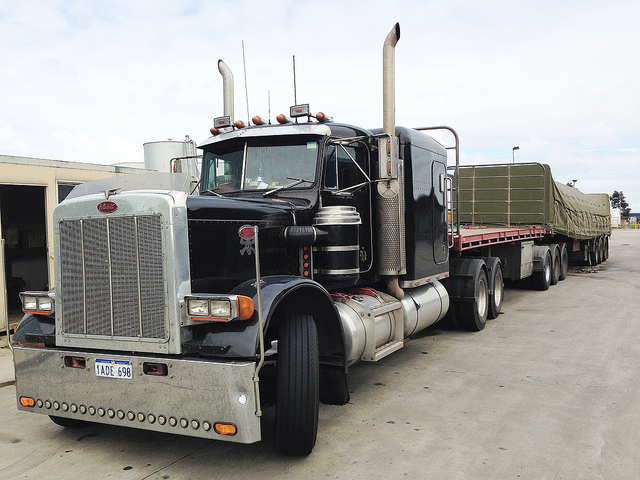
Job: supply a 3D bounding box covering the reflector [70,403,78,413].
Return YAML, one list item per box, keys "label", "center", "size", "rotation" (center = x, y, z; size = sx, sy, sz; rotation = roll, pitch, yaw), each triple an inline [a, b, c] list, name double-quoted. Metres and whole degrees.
- label: "reflector"
  center: [-2.339, 1.584, 5.587]
  size: [0.076, 0.082, 0.079]
  rotation: [9, 8, 40]

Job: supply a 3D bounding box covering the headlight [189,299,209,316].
- label: "headlight"
  center: [-1.098, 0.594, 5.281]
  size: [0.144, 0.153, 0.104]
  rotation: [-1, 0, 18]

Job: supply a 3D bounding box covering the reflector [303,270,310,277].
- label: "reflector"
  center: [-0.143, 0.373, 6.672]
  size: [0.061, 0.064, 0.014]
  rotation: [-19, 10, -26]

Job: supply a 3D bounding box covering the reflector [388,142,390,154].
- label: "reflector"
  center: [0.795, -1.085, 6.791]
  size: [0.015, 0.114, 0.020]
  rotation: [-1, 6, 5]

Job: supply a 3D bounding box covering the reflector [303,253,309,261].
- label: "reflector"
  center: [-0.159, 0.178, 6.683]
  size: [0.014, 0.088, 0.080]
  rotation: [5, 9, 43]

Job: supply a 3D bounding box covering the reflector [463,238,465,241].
- label: "reflector"
  center: [2.514, -0.033, 10.274]
  size: [0.014, 0.049, 0.093]
  rotation: [1, 7, 22]

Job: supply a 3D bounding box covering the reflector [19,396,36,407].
- label: "reflector"
  center: [-2.883, 1.587, 5.799]
  size: [0.205, 0.128, 0.026]
  rotation: [1, 7, 23]

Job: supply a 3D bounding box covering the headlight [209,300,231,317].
- label: "headlight"
  center: [-0.894, 0.600, 5.226]
  size: [0.146, 0.097, 0.149]
  rotation: [-1, -3, 25]

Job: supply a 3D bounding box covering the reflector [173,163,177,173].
- label: "reflector"
  center: [-1.907, -0.974, 7.750]
  size: [0.047, 0.116, 0.069]
  rotation: [-5, 7, -33]

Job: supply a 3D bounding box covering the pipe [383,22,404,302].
- label: "pipe"
  center: [0.926, -0.998, 7.416]
  size: [0.348, 3.625, 0.290]
  rotation: [-2, -4, 21]

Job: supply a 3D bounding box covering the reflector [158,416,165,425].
- label: "reflector"
  center: [-1.430, 1.616, 5.296]
  size: [0.051, 0.056, 0.054]
  rotation: [1, 1, 17]

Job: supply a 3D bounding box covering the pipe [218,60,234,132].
- label: "pipe"
  center: [-1.402, -2.298, 8.812]
  size: [0.192, 0.850, 0.293]
  rotation: [-2, 6, -10]

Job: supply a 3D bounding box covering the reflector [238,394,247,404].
- label: "reflector"
  center: [-0.675, 1.372, 5.094]
  size: [0.068, 0.073, 0.016]
  rotation: [-5, -7, -10]

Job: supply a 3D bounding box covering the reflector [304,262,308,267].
- label: "reflector"
  center: [-0.160, 0.267, 6.689]
  size: [0.008, 0.052, 0.048]
  rotation: [5, 9, 44]

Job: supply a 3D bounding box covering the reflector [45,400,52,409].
- label: "reflector"
  center: [-2.636, 1.579, 5.699]
  size: [0.079, 0.086, 0.014]
  rotation: [8, 7, 27]

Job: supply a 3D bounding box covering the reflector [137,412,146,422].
- label: "reflector"
  center: [-1.627, 1.599, 5.351]
  size: [0.083, 0.092, 0.031]
  rotation: [9, 6, 36]

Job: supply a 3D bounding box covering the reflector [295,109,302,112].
- label: "reflector"
  center: [-0.256, -1.595, 7.165]
  size: [0.077, 0.034, 0.012]
  rotation: [1, 6, 18]

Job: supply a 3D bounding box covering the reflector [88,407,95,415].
- label: "reflector"
  center: [-2.146, 1.596, 5.519]
  size: [0.065, 0.068, 0.004]
  rotation: [1, 6, 19]

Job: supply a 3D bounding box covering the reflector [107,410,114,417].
- label: "reflector"
  center: [-1.949, 1.599, 5.449]
  size: [0.051, 0.055, 0.053]
  rotation: [2, -1, 13]

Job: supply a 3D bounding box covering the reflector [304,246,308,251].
- label: "reflector"
  center: [-0.165, 0.078, 6.669]
  size: [0.042, 0.045, 0.010]
  rotation: [3, 8, -16]

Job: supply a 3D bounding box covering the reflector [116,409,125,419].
- label: "reflector"
  center: [-1.835, 1.591, 5.413]
  size: [0.077, 0.086, 0.026]
  rotation: [15, 14, 29]

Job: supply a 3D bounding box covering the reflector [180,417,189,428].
- label: "reflector"
  center: [-1.204, 1.612, 5.226]
  size: [0.069, 0.073, 0.037]
  rotation: [27, 21, 19]

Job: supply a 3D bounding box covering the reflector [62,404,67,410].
- label: "reflector"
  center: [-2.446, 1.586, 5.627]
  size: [0.055, 0.047, 0.004]
  rotation: [1, 6, 16]

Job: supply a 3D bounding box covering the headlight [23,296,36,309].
- label: "headlight"
  center: [-2.880, 0.606, 5.837]
  size: [0.121, 0.122, 0.066]
  rotation: [3, 2, 15]

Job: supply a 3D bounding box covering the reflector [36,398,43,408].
- label: "reflector"
  center: [-2.738, 1.578, 5.749]
  size: [0.073, 0.078, 0.018]
  rotation: [-2, 6, 12]

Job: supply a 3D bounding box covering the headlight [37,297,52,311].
- label: "headlight"
  center: [-2.711, 0.612, 5.810]
  size: [0.126, 0.133, 0.131]
  rotation: [-1, -1, 5]

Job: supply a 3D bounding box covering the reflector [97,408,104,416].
- label: "reflector"
  center: [-2.048, 1.597, 5.485]
  size: [0.052, 0.056, 0.013]
  rotation: [3, 1, 12]
